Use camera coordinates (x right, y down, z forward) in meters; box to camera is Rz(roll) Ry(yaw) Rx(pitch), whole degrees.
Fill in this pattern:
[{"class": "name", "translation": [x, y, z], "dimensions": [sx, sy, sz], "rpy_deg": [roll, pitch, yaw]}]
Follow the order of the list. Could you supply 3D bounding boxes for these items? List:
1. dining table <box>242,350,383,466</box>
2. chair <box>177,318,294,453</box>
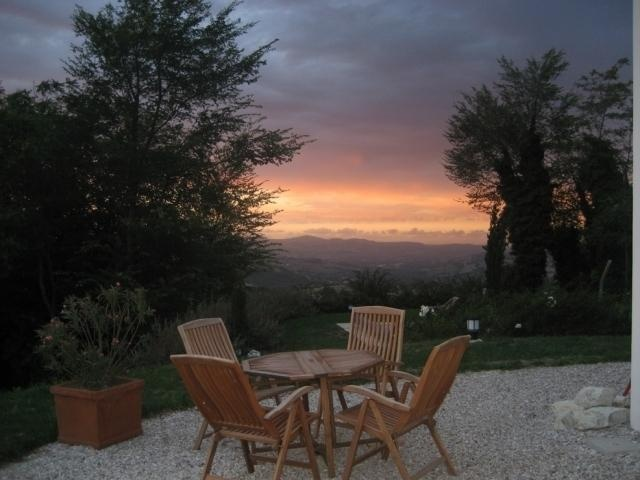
[{"class": "dining table", "translation": [-0.129, 1.661, 5.191], "dimensions": [1.296, 0.834, 1.293], "rpy_deg": [-5, -4, 40]}, {"class": "chair", "translation": [-1.506, 1.760, 6.158], "dimensions": [1.647, 2.168, 1.432], "rpy_deg": [1, -5, -25]}]
